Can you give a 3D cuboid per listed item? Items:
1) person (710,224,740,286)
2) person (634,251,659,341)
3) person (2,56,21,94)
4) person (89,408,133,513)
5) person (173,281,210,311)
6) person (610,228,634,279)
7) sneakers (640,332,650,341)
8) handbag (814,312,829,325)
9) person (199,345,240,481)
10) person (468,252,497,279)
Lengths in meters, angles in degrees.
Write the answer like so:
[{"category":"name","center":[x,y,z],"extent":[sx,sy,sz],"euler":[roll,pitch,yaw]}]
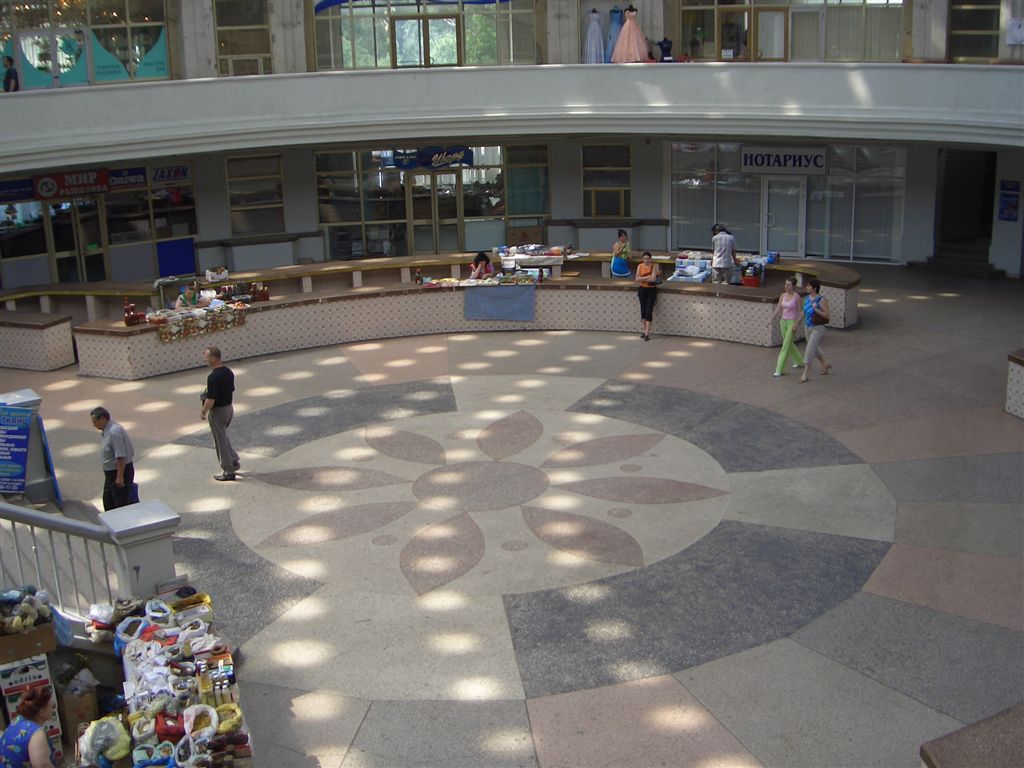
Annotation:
[{"category":"person","center":[5.599,-3.364,19.723],"extent":[0.616,1.483,1.081],"euler":[1,14,16]},{"category":"person","center":[3.294,-2.089,18.083],"extent":[0.530,2.040,0.722],"euler":[-1,14,9]},{"category":"person","center":[-13.040,-8.012,19.553],"extent":[0.398,0.998,1.022],"euler":[-11,15,-28]},{"category":"person","center":[-5.336,1.006,10.114],"extent":[0.475,1.535,1.422],"euler":[-11,15,-27]},{"category":"person","center":[-7.560,-2.070,17.870],"extent":[0.651,0.623,1.160],"euler":[-5,14,-8]},{"category":"person","center":[3.192,-3.749,21.423],"extent":[0.758,1.001,2.197],"euler":[6,25,5]},{"category":"sneakers","center":[3.212,-1.129,18.121],"extent":[0.169,0.271,0.396],"euler":[-1,8,5]},{"category":"handbag","center":[6.022,-1.269,14.680],"extent":[0.158,0.294,0.212],"euler":[-19,-1,-13]},{"category":"person","center":[-4.434,0.474,11.479],"extent":[0.509,2.079,0.553],"euler":[-10,15,-24]},{"category":"person","center":[-0.692,-2.979,19.623],"extent":[0.675,0.816,0.336],"euler":[1,-26,5]}]
